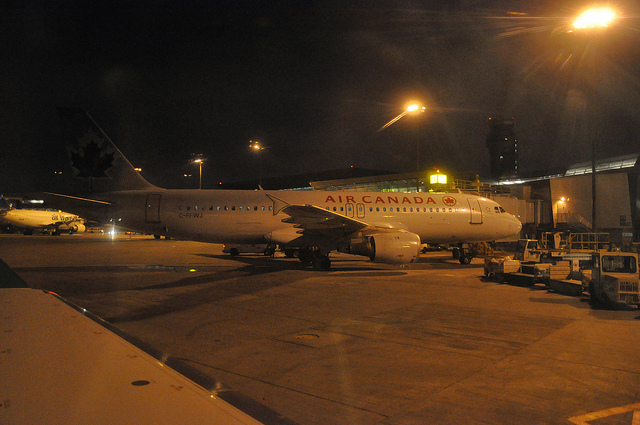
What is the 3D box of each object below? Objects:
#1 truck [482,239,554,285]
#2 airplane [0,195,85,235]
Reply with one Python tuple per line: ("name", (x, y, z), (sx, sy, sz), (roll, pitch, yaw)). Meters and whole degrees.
("truck", (7.580, 1.837, 21.468), (2.171, 1.296, 4.829), (6, 15, 22))
("airplane", (-23.274, 0.325, 46.727), (4.127, 1.461, 4.070), (6, 3, 29))
